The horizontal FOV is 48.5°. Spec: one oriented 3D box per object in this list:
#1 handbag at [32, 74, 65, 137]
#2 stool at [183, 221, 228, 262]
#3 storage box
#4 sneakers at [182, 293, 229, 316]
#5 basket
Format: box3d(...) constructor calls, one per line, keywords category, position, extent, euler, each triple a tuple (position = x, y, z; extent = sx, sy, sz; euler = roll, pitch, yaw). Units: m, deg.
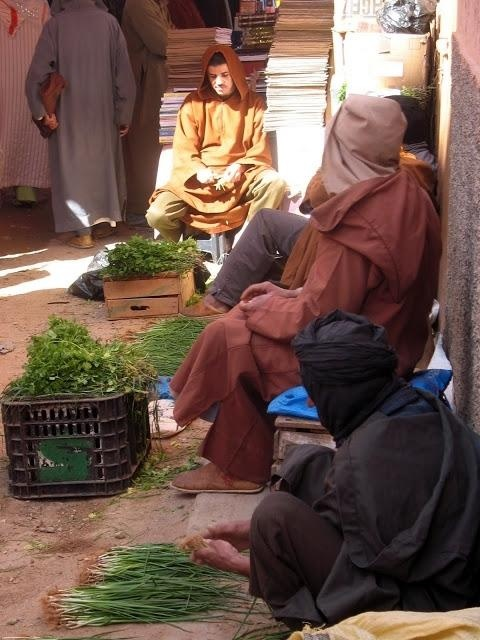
box3d(category="handbag", position=(-2.292, -2.639, 6.500), extent=(0.289, 0.632, 0.643), euler=(1, -10, 3))
box3d(category="stool", position=(-0.383, -0.898, 6.171), extent=(0.472, 0.280, 0.464), euler=(1, 28, -4))
box3d(category="storage box", position=(1.291, -2.314, 4.670), extent=(0.715, 0.669, 0.423), euler=(-4, 8, 19))
box3d(category="sneakers", position=(-0.273, -0.125, 4.631), extent=(0.171, 0.207, 0.496), euler=(-12, 13, -41))
box3d(category="basket", position=(-0.768, 0.587, 2.632), extent=(0.685, 0.392, 0.447), euler=(-2, 4, -16))
